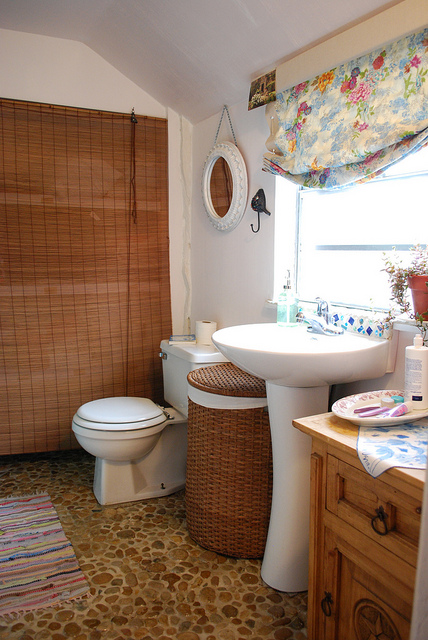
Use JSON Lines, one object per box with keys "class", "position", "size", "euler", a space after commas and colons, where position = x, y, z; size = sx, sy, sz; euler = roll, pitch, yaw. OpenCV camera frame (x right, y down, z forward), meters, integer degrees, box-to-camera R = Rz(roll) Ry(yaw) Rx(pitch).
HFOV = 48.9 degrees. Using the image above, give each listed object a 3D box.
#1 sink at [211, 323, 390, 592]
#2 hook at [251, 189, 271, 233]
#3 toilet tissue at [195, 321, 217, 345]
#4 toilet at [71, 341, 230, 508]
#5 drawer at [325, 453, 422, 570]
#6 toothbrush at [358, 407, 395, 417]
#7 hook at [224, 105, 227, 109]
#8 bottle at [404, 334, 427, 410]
{"class": "sink", "position": [0.359, 0.411, 1.474], "size": [0.415, 0.755, 0.649], "euler": [-1, 11, -16]}
{"class": "hook", "position": [0.191, -0.485, 1.937], "size": [0.040, 0.115, 0.096], "euler": [-3, 5, -31]}
{"class": "toilet tissue", "position": [-0.045, 0.060, 2.392], "size": [0.105, 0.118, 0.102], "euler": [12, 20, 31]}
{"class": "toilet", "position": [-0.301, 0.469, 2.204], "size": [0.677, 0.702, 0.485], "euler": [0, 8, -26]}
{"class": "drawer", "position": [0.288, 0.283, 0.862], "size": [0.122, 0.153, 0.240], "euler": [-1, 6, -21]}
{"class": "toothbrush", "position": [0.344, 0.194, 0.999], "size": [0.092, 0.010, 0.026], "euler": [-2, 5, -23]}
{"class": "hook", "position": [0.053, -1.005, 2.211], "size": [0.012, 0.014, 0.013], "euler": [16, 21, 40]}
{"class": "bottle", "position": [0.427, 0.111, 0.998], "size": [0.045, 0.155, 0.066], "euler": [2, 5, 23]}
